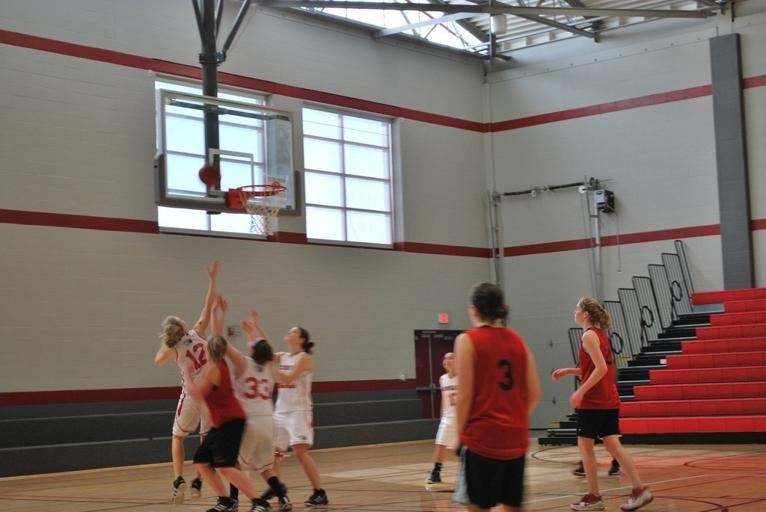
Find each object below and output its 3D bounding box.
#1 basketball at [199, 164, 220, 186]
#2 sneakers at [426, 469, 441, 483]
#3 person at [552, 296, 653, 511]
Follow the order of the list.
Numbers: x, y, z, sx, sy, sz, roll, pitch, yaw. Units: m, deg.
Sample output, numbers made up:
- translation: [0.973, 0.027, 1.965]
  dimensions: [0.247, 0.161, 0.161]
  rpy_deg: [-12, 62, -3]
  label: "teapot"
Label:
- translation: [-2.928, -1.368, 11.086]
  dimensions: [0.359, 0.346, 0.337]
  rpy_deg: [-13, 2, -6]
  label: "basketball"
- translation: [0.649, 2.824, 8.361]
  dimensions: [0.181, 0.167, 0.186]
  rpy_deg: [-1, -2, 5]
  label: "sneakers"
- translation: [2.260, 1.554, 6.749]
  dimensions: [0.831, 2.234, 0.831]
  rpy_deg: [-2, -2, 14]
  label: "person"
